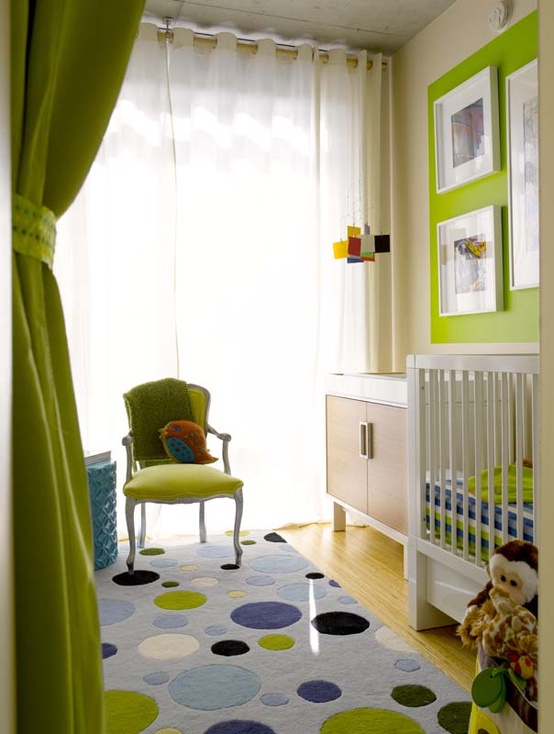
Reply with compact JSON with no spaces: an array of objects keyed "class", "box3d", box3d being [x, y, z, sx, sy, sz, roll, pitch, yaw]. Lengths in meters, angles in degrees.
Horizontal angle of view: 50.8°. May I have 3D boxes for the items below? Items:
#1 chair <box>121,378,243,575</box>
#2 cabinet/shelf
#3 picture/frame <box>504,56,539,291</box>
[{"class":"chair","box3d":[-0.512,0.488,2.815,0.467,0.973,0.589,0,-9,-23]},{"class":"cabinet/shelf","box3d":[0.515,0.459,2.920,0.267,0.823,0.834,0,2,-22]},{"class":"picture/frame","box3d":[1.050,-0.799,2.485,0.069,0.938,0.192,0,-1,-10]}]
